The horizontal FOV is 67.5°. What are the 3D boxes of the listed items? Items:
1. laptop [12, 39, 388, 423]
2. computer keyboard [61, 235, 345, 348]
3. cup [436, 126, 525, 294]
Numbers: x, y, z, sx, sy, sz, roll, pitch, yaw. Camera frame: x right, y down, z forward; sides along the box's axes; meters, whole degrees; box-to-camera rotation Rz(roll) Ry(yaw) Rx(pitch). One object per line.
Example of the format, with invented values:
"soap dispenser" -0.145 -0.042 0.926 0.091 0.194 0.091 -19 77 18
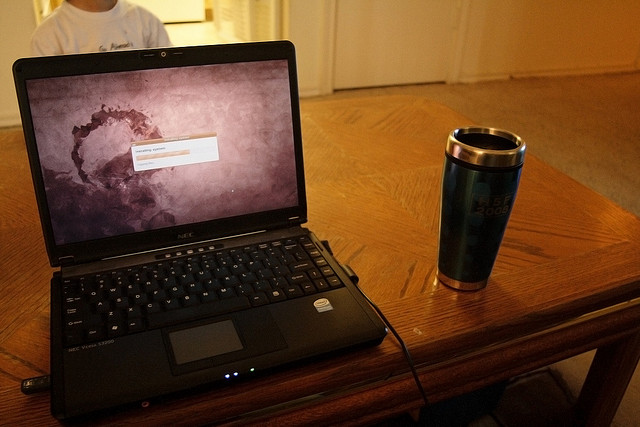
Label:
"laptop" -0.201 -0.013 0.741 0.473 0.430 0.406 -10 29 -18
"computer keyboard" -0.183 0.115 0.770 0.423 0.052 0.125 -8 27 -15
"cup" 0.259 -0.008 0.806 0.116 0.259 0.148 11 30 22
